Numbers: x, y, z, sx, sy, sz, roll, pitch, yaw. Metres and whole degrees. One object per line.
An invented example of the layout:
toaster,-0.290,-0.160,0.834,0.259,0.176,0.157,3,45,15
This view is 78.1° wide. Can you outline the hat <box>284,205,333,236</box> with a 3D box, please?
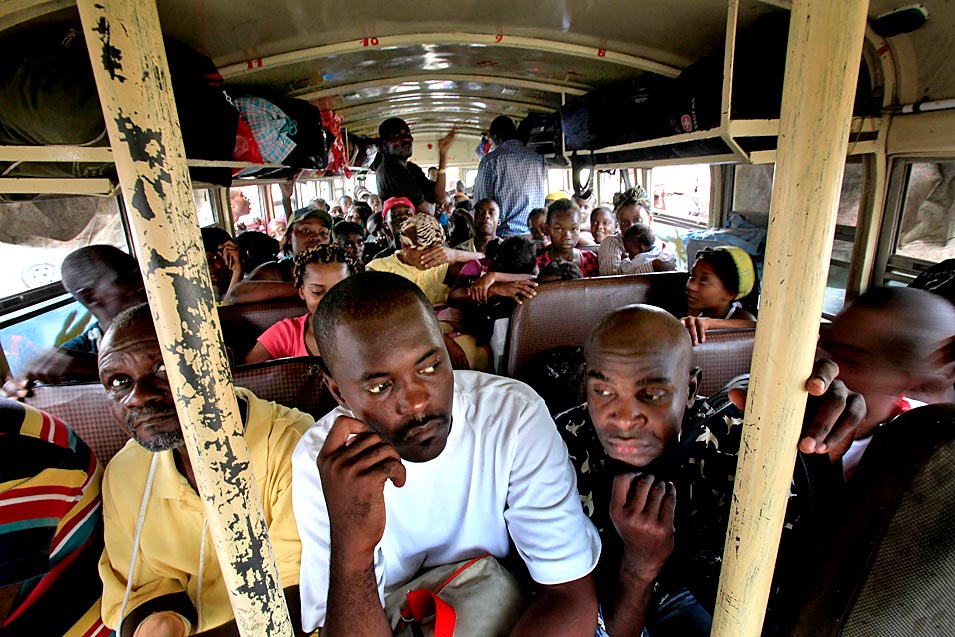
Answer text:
hat,-1.523,-0.964,5.339,0.376,0.183,0.463,-3,-3,-24
